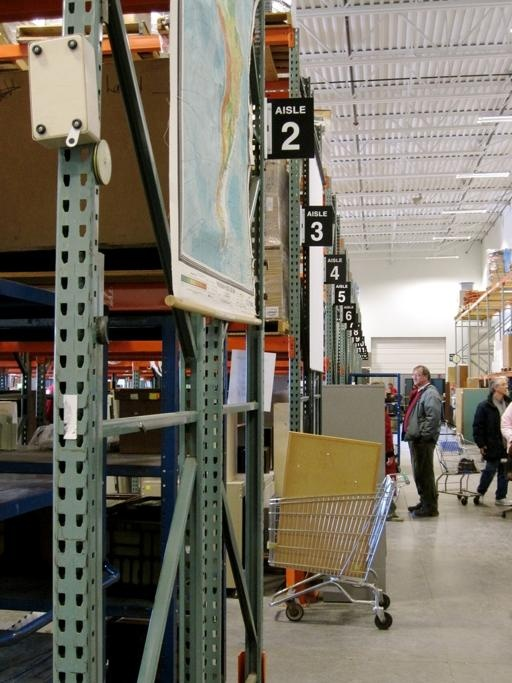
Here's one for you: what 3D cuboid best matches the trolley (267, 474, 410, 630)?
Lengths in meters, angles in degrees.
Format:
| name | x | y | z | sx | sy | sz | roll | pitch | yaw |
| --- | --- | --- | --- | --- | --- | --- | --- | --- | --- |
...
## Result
| name | x | y | z | sx | sy | sz | roll | pitch | yaw |
| --- | --- | --- | --- | --- | --- | --- | --- | --- | --- |
| trolley | 0.480 | 1.200 | 5.310 | 0.665 | 1.279 | 0.664 | 1 | -4 | 7 |

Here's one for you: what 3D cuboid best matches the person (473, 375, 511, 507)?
| name | x | y | z | sx | sy | sz | roll | pitch | yaw |
| --- | --- | --- | --- | --- | --- | --- | --- | --- | --- |
| person | 2.797 | 1.156 | 10.418 | 0.417 | 1.568 | 1.281 | -2 | -6 | 17 |

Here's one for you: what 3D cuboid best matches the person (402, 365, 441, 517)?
| name | x | y | z | sx | sy | sz | roll | pitch | yaw |
| --- | --- | --- | --- | --- | --- | --- | --- | --- | --- |
| person | 1.788 | 1.042 | 9.408 | 0.385 | 1.676 | 0.988 | -1 | -6 | 10 |
